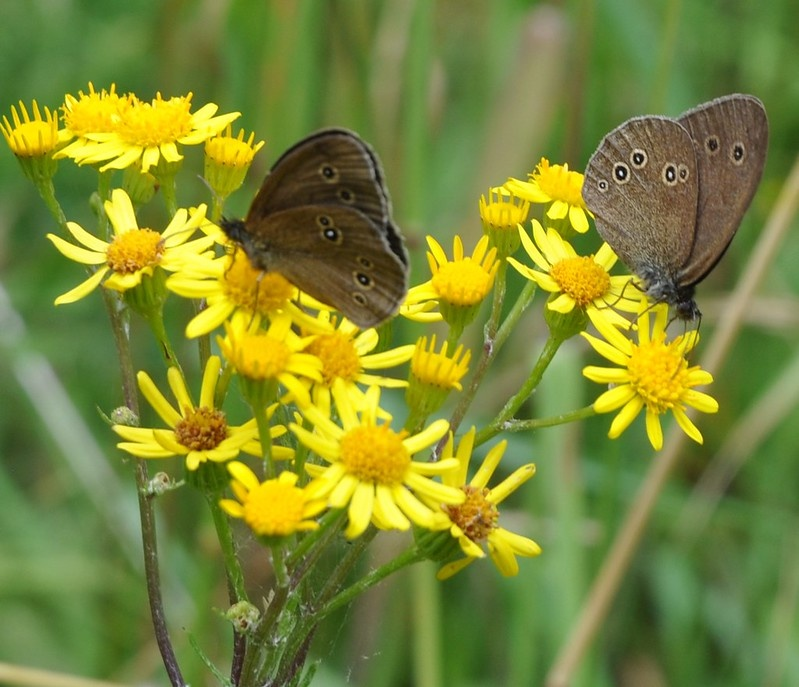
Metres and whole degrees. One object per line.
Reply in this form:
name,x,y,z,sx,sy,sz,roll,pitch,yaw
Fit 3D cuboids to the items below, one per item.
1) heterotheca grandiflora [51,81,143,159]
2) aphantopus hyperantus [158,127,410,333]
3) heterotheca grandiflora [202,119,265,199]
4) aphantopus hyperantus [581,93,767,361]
heterotheca grandiflora,-0.555,-0.423,1.638,0.129,0.084,0.164,-4,9,17
aphantopus hyperantus,-0.169,-0.209,1.556,0.325,0.296,0.417,13,5,-34
heterotheca grandiflora,-0.319,-0.321,1.617,0.123,0.147,0.142,8,13,-10
aphantopus hyperantus,0.485,-0.276,1.765,0.243,0.528,0.375,6,23,10
